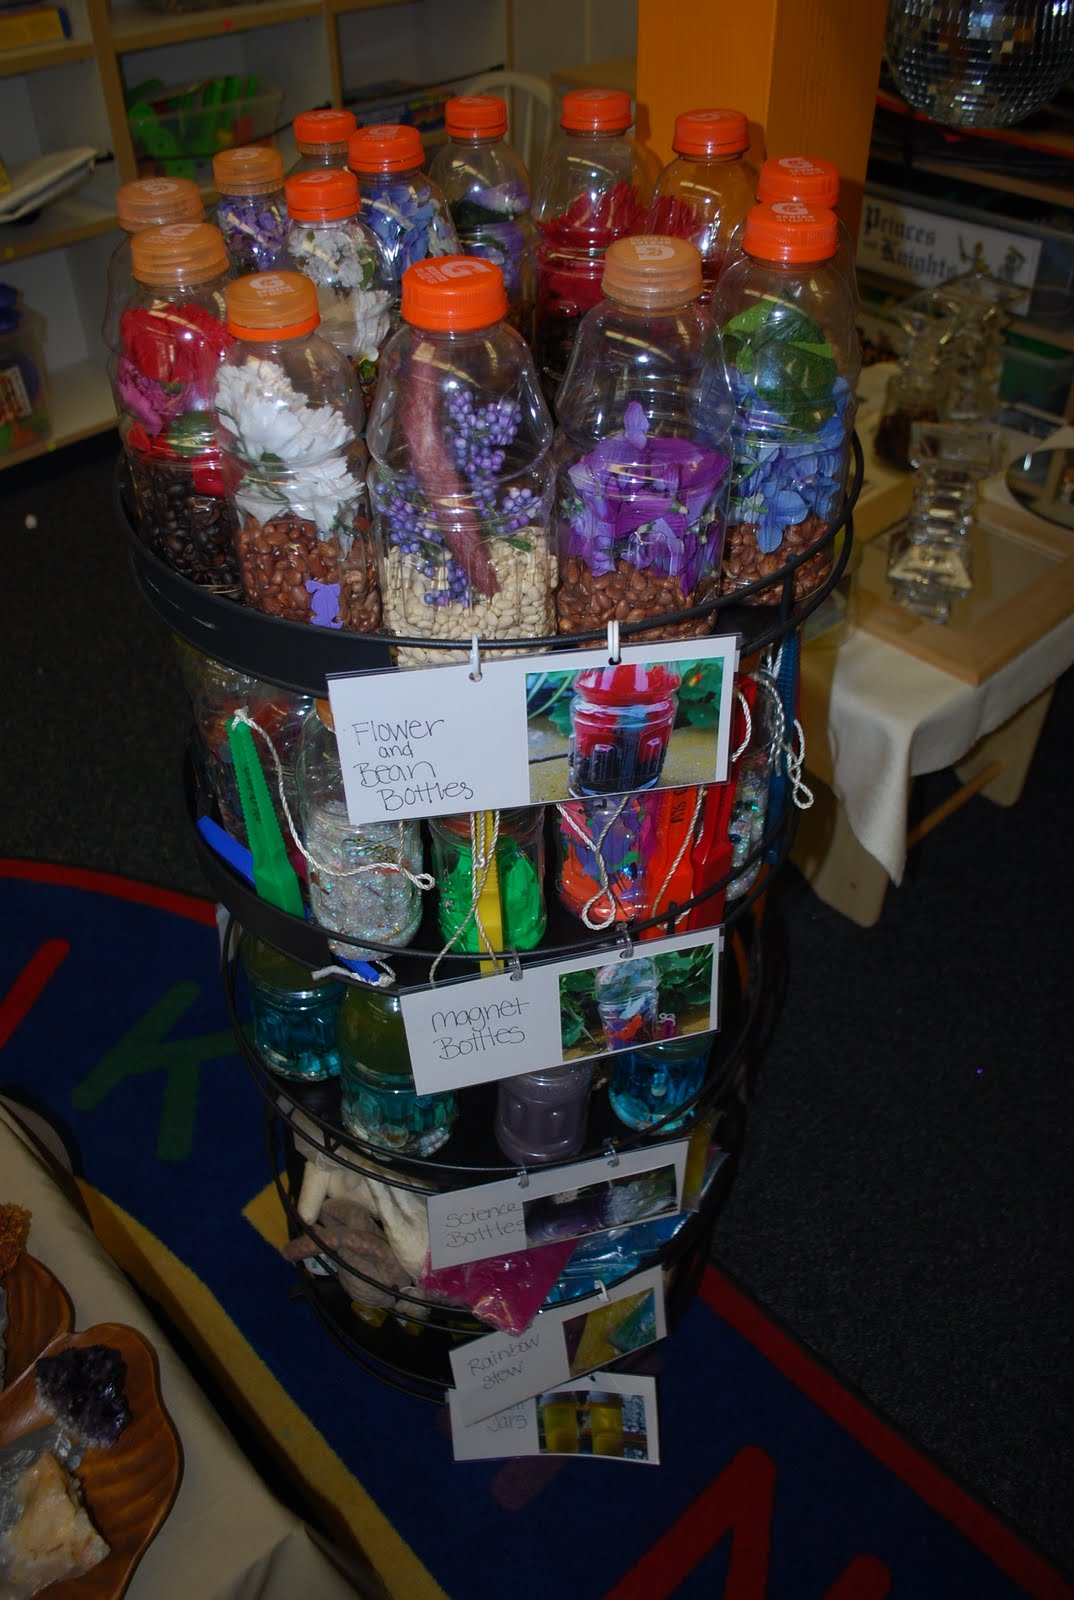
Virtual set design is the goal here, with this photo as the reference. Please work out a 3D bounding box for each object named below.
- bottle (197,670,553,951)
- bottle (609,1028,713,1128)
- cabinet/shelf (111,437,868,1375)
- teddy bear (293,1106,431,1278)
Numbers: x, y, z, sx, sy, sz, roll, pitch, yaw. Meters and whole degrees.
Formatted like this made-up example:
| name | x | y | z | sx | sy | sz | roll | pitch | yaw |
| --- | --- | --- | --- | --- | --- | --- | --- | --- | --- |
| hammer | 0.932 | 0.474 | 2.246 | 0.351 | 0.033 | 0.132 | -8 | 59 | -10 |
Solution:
| name | x | y | z | sx | sy | sz | roll | pitch | yaw |
| --- | --- | --- | --- | --- | --- | --- | --- | --- | --- |
| bottle | -0.137 | 0.032 | 1.033 | 0.241 | 0.259 | 0.246 | -2 | 46 | 2 |
| bottle | 0.115 | 0.279 | 1.234 | 0.099 | 0.112 | 0.105 | 1 | 42 | 4 |
| cabinet/shelf | -0.011 | 0.185 | 1.231 | 0.485 | 0.362 | 0.375 | -4 | 53 | 25 |
| teddy bear | -0.181 | 0.467 | 1.344 | 0.079 | 0.034 | 0.139 | -31 | 29 | -32 |
